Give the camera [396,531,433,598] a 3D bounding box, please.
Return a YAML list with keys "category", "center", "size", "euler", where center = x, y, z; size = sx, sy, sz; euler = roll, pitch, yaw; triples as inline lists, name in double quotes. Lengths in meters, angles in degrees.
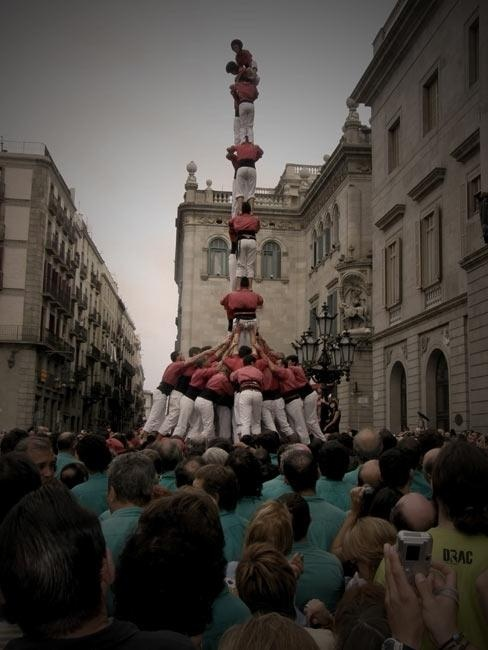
- category: "camera"
  center: [0.492, 0.666, 1.822]
  size: [0.096, 0.166, 0.156]
  euler: [-2, -9, 13]
